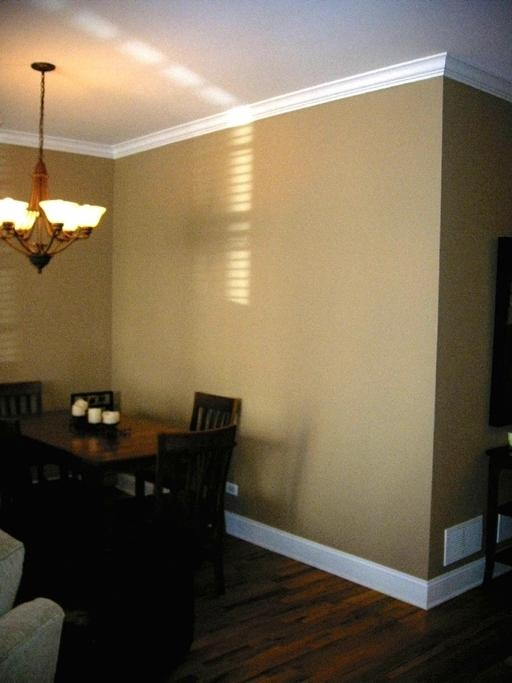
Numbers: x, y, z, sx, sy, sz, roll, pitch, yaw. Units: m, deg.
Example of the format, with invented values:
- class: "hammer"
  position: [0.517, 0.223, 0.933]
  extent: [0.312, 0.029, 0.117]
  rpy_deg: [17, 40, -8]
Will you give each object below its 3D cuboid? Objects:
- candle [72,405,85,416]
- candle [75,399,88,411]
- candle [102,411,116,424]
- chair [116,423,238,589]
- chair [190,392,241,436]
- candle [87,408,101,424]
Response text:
- class: "candle"
  position: [-1.062, 0.416, 3.543]
  extent: [0.063, 0.061, 0.063]
  rpy_deg: [2, -3, 6]
- class: "candle"
  position: [-1.057, 0.384, 3.583]
  extent: [0.061, 0.021, 0.062]
  rpy_deg: [11, 6, -2]
- class: "candle"
  position: [-0.850, 0.450, 3.460]
  extent: [0.072, 0.052, 0.072]
  rpy_deg: [2, -4, -23]
- class: "chair"
  position: [-0.308, 0.830, 2.783]
  extent: [0.457, 0.859, 0.434]
  rpy_deg: [0, 1, -20]
- class: "chair"
  position: [-0.222, 0.453, 3.750]
  extent: [0.241, 0.421, 0.288]
  rpy_deg: [1, -5, 37]
- class: "candle"
  position: [-0.960, 0.453, 3.549]
  extent: [0.086, 0.094, 0.086]
  rpy_deg: [2, -5, -24]
